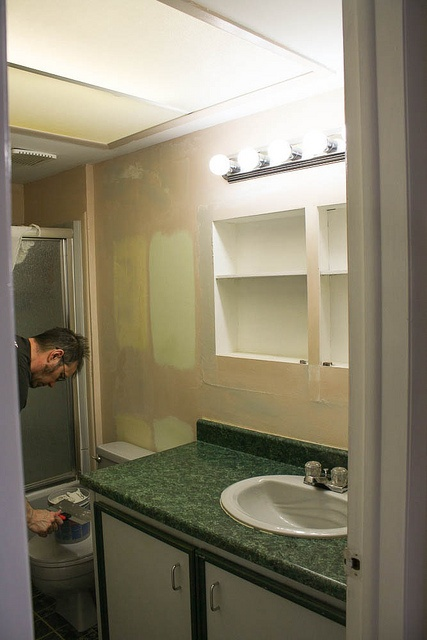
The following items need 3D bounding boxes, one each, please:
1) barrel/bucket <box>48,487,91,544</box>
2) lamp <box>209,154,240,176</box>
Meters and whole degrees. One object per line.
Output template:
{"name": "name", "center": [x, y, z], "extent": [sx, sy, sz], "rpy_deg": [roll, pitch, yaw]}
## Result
{"name": "barrel/bucket", "center": [-0.627, 0.861, 2.226], "extent": [0.165, 0.219, 0.192], "rpy_deg": [4, -23, 11]}
{"name": "lamp", "center": [0.047, -0.587, 1.879], "extent": [0.077, 0.076, 0.113], "rpy_deg": [0, 3, 38]}
